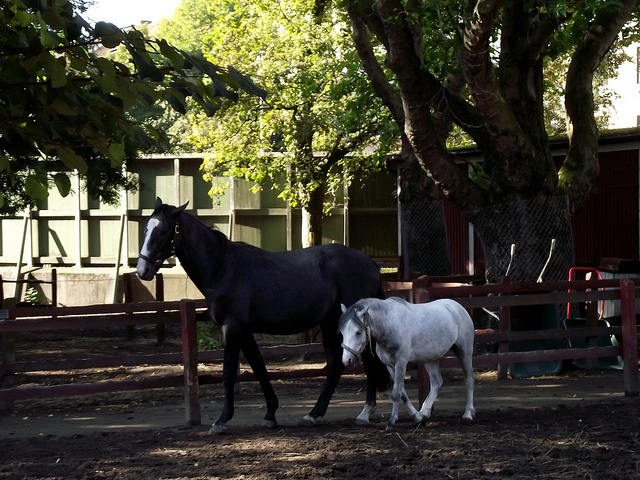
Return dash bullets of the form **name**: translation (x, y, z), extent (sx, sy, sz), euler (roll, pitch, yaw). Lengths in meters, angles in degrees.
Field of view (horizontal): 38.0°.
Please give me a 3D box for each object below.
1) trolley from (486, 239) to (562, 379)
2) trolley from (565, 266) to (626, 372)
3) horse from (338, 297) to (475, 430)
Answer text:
- **trolley**: translation (3.589, 1.150, 15.685), extent (1.160, 2.352, 2.009), euler (-1, -7, 11)
- **trolley**: translation (4.560, 1.317, 15.657), extent (0.944, 1.748, 0.727), euler (-3, -4, 4)
- **horse**: translation (1.135, 1.537, 11.887), extent (2.217, 1.707, 0.696), euler (-1, -1, -38)
